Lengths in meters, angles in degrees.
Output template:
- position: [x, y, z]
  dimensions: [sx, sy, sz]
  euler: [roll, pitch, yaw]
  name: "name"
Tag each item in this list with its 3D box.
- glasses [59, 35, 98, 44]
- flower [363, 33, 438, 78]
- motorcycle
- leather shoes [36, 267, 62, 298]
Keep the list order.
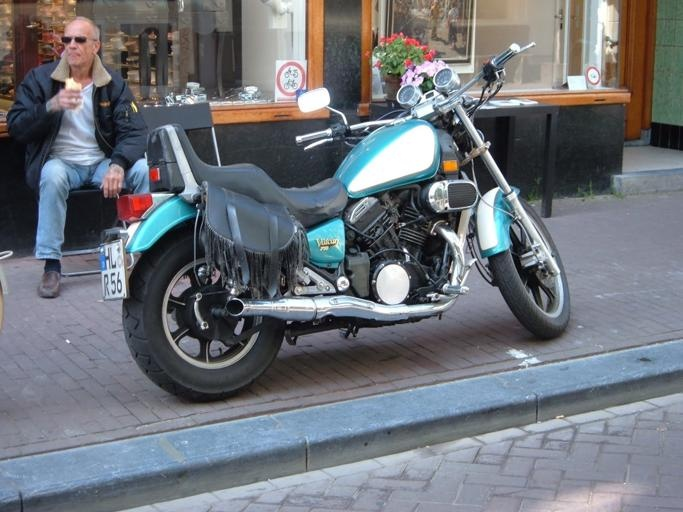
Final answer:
- position: [-2.161, -1.788, 5.412]
  dimensions: [0.211, 0.060, 0.206]
  euler: [1, 7, 5]
  name: "glasses"
- position: [0.622, -2.308, 7.371]
  dimensions: [0.642, 0.384, 0.605]
  euler: [-13, 0, -1]
  name: "flower"
- position: [0.214, -0.249, 4.254]
  dimensions: [3.455, 1.763, 1.233]
  euler: [-10, 11, -35]
  name: "motorcycle"
- position: [-2.396, 0.236, 5.381]
  dimensions: [0.118, 0.122, 0.310]
  euler: [3, 20, -18]
  name: "leather shoes"
